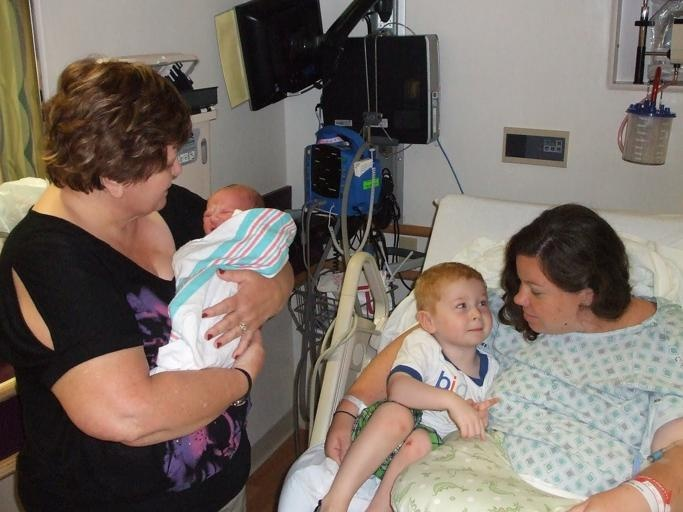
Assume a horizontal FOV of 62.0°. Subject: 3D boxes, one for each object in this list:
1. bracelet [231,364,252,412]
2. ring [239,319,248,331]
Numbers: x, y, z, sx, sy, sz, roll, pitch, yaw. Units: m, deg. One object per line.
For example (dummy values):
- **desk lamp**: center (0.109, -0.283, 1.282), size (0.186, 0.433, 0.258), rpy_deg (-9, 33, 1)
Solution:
- **bracelet**: center (-0.240, 0.330, 1.398), size (0.057, 0.089, 0.106), rpy_deg (8, -15, -21)
- **ring**: center (-0.240, 0.167, 1.378), size (0.016, 0.023, 0.008), rpy_deg (-1, 0, -43)
